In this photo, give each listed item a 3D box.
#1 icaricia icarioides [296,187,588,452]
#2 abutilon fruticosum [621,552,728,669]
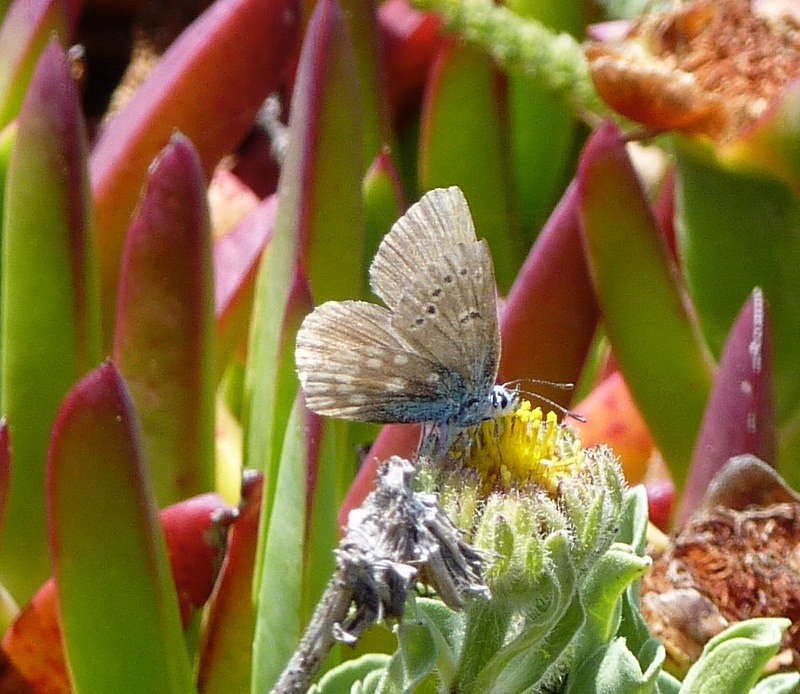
[{"bbox_3d":[0.008,-0.019,1.517,0.233,0.274,0.204,-4,17,-7],"label":"icaricia icarioides"},{"bbox_3d":[0.300,0.285,1.626,0.077,0.134,0.097,4,27,20],"label":"abutilon fruticosum"}]
